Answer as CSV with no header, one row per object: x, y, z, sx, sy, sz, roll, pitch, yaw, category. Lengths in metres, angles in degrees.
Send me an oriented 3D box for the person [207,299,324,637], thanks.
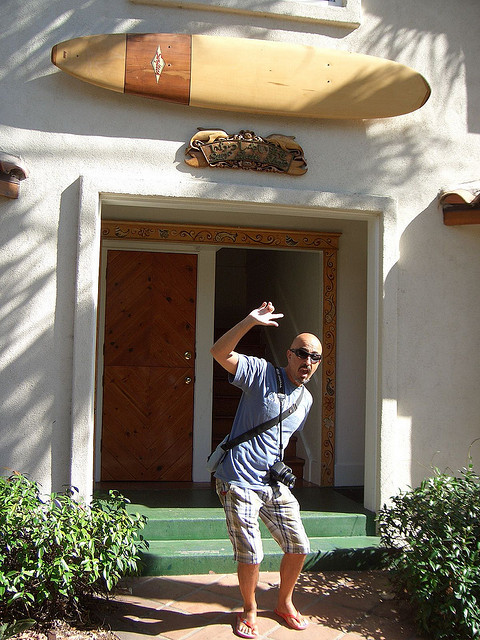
0.141,0.871,4.094,0.672,1.947,0.454,2,6,-9,person

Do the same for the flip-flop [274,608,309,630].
0.309,1.790,4.243,0.083,0.042,0.187,-4,7,-37,flip-flop

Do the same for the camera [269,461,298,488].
0.254,0.890,4.079,0.155,0.070,0.143,38,0,16,camera
